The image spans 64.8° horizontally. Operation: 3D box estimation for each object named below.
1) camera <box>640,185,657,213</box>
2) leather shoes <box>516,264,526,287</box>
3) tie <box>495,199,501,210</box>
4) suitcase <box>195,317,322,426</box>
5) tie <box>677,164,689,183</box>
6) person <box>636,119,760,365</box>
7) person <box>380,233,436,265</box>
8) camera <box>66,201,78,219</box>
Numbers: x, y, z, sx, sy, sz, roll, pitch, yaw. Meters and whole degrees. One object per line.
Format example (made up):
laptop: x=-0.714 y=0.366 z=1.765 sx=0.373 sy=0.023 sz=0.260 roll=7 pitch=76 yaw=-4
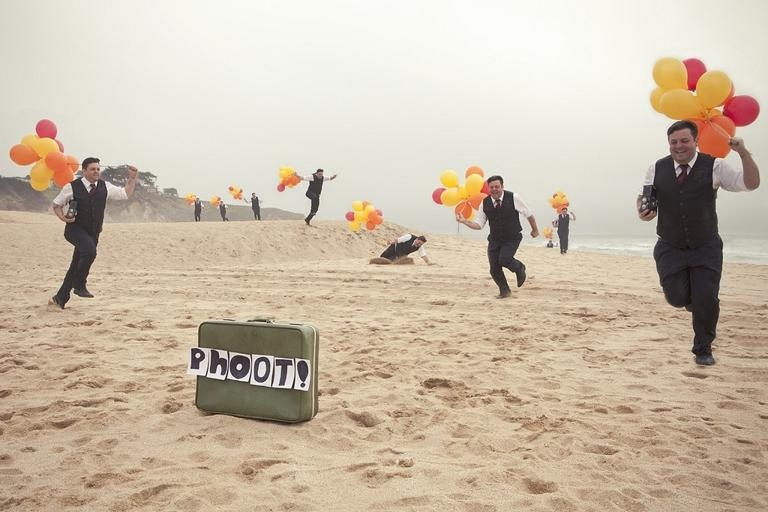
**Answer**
camera: x=3.063 y=-0.668 z=6.970 sx=0.168 sy=0.299 sz=0.373 roll=5 pitch=11 yaw=23
leather shoes: x=2.529 y=0.370 z=11.173 sx=0.189 sy=0.416 sz=0.143 roll=9 pitch=16 yaw=39
tie: x=1.949 y=-0.892 z=10.285 sx=0.137 sy=0.141 sz=0.043 roll=2 pitch=11 yaw=11
suitcase: x=-1.309 y=1.225 z=6.224 sx=1.077 sy=0.794 sz=0.377 roll=1 pitch=-5 yaw=12
tie: x=3.468 y=-0.964 z=7.003 sx=0.103 sy=0.198 sz=0.063 roll=5 pitch=12 yaw=23
person: x=3.590 y=-0.128 z=7.053 sx=1.074 sy=2.843 sz=0.444 roll=7 pitch=13 yaw=30
person: x=0.568 y=-0.216 z=16.357 sx=1.242 sy=0.870 sz=1.964 roll=0 pitch=10 yaw=0
camera: x=-4.674 y=-0.700 z=9.042 sx=0.130 sy=0.266 sz=0.347 roll=-2 pitch=11 yaw=-14
